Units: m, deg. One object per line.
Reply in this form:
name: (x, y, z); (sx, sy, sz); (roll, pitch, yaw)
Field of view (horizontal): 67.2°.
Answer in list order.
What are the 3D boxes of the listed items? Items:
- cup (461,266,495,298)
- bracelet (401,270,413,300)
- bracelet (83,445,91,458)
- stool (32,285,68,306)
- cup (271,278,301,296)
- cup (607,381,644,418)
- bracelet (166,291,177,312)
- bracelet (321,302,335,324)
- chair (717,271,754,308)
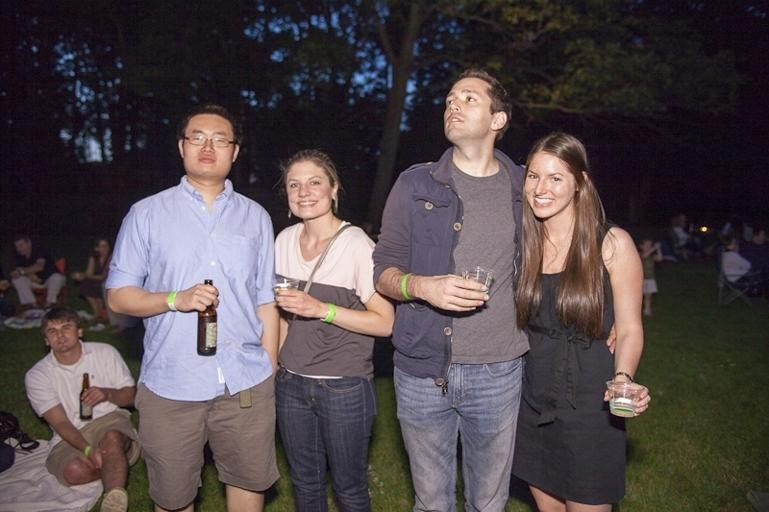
cup: (0.843, 0.226, 5.035); (0.301, 0.283, 0.221); (-3, 5, -4)
bracelet: (0.210, 0.289, 5.097); (0.113, 0.244, 0.109); (5, 15, 21)
bracelet: (-3.337, 2.216, 6.545); (0.109, 0.118, 0.061); (11, 17, 38)
stool: (-7.696, 0.915, 13.388); (0.473, 0.297, 0.468); (1, -1, -5)
cup: (-0.898, 0.302, 5.358); (0.178, 0.124, 0.177); (0, -5, 0)
cup: (2.030, 1.211, 4.889); (0.277, 0.228, 0.287); (2, -8, 0)
bracelet: (-1.862, 0.396, 5.096); (0.099, 0.148, 0.061); (7, 15, 26)
bracelet: (-0.546, 0.530, 5.307); (0.114, 0.154, 0.171); (11, -25, -17)
chair: (8.222, 0.829, 13.779); (0.813, 0.542, 1.001); (-6, 5, -13)
